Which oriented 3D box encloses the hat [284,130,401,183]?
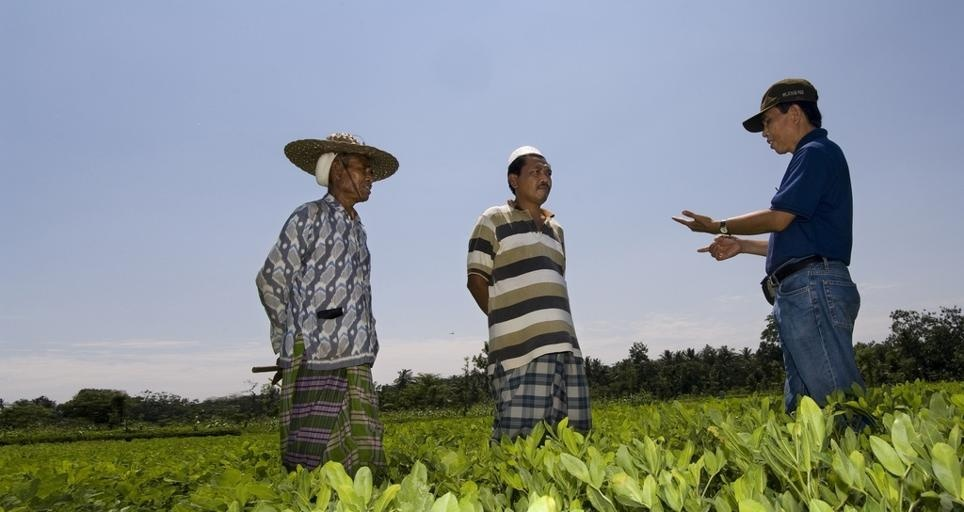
[{"bbox_3d":[-1.387,-0.935,5.674,0.957,0.271,1.068,12,-9,-40],"label":"hat"}]

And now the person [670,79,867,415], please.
[{"bbox_3d":[3.124,-0.178,5.819,1.032,3.225,0.595,-13,-20,32],"label":"person"}]

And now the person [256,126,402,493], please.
[{"bbox_3d":[-1.494,0.392,5.739,1.196,3.275,0.615,3,-17,-17],"label":"person"}]
